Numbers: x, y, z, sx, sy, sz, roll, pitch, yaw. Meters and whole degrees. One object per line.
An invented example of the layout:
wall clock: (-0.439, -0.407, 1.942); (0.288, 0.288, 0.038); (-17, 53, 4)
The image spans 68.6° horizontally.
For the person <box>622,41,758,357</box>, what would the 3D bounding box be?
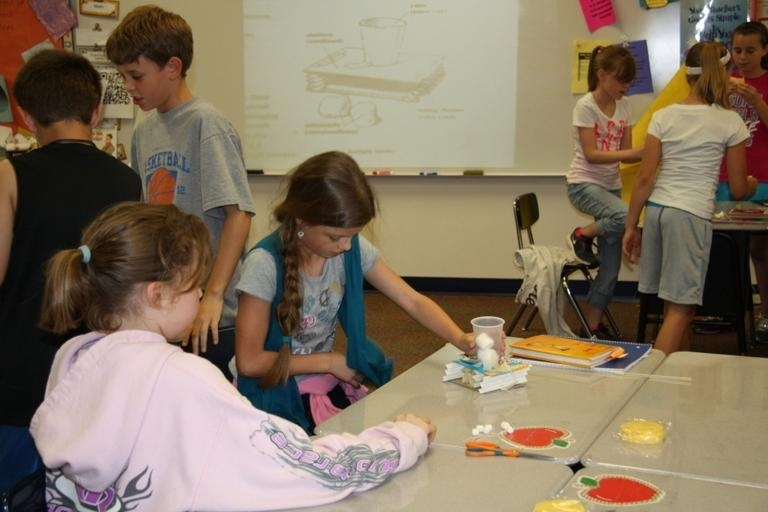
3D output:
person: (1.560, -0.432, 2.904); (0.574, 1.284, 0.454); (2, 13, 23)

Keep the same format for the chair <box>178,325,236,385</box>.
chair: (-0.648, 0.325, 1.968); (0.171, 0.244, 0.198); (-1, 5, -41)

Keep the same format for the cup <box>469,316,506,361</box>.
cup: (0.334, 0.257, 1.811); (0.133, 0.141, 0.136); (-2, 0, 0)

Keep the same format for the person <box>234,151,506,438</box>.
person: (-0.121, 0.212, 1.956); (0.830, 1.048, 0.607); (23, 34, 31)
